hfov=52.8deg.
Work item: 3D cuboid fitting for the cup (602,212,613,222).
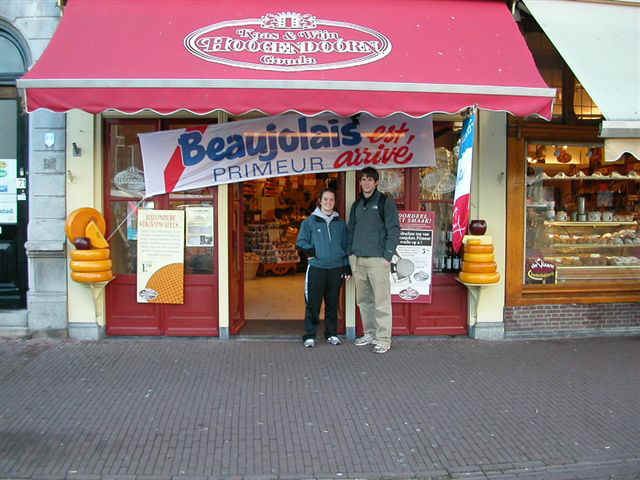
[{"bbox_3d":[4.482,-0.345,10.050,0.155,0.174,0.157,2,2,0],"label":"cup"}]

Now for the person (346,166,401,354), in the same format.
[{"bbox_3d":[0.714,0.230,8.957,0.589,2.465,0.853,1,-1,-42],"label":"person"}]

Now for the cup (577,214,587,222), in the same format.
[{"bbox_3d":[4.045,-0.329,9.956,0.114,0.107,0.115,0,0,0],"label":"cup"}]

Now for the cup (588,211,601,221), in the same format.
[{"bbox_3d":[4.246,-0.355,9.997,0.144,0.139,0.076,0,-4,-1],"label":"cup"}]
